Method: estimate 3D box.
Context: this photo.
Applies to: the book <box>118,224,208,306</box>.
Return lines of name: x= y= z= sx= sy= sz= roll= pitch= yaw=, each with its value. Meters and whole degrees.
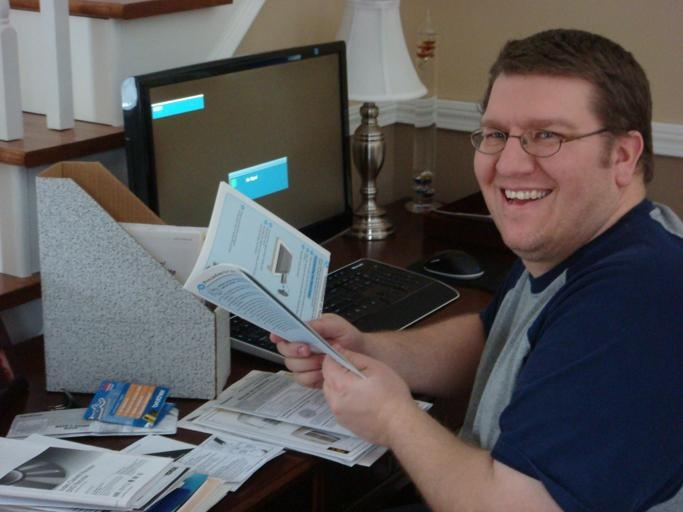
book: x=-0.327 y=0.017 z=1.150 sx=0.115 sy=0.108 sz=0.016 roll=40 pitch=11 yaw=-16

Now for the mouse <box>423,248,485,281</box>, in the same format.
mouse: x=0.302 y=0.012 z=1.686 sx=0.112 sy=0.038 sz=0.082 roll=11 pitch=17 yaw=33

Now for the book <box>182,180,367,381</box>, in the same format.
book: x=-0.122 y=0.067 z=1.131 sx=0.273 sy=0.122 sz=0.364 roll=27 pitch=-3 yaw=31
